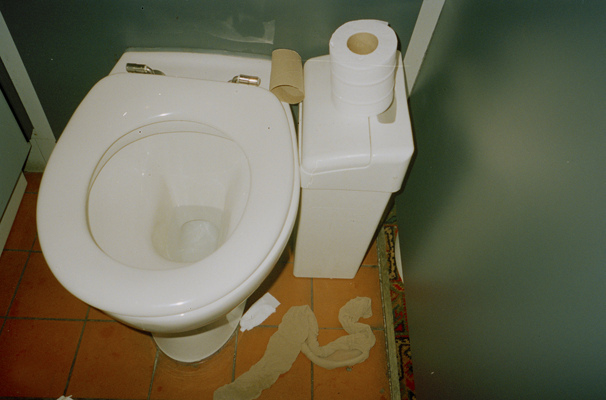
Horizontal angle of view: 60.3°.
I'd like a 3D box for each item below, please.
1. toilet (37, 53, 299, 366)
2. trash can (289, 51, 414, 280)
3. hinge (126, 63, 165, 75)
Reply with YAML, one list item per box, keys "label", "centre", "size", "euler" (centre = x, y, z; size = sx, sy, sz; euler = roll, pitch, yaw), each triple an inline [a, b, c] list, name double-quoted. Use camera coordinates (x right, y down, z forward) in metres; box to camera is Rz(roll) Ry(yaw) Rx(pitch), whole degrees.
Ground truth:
- label: "toilet"
  centre: [-0.293, 0.009, 1.454]
  size: [0.554, 0.700, 0.776]
  euler: [3, 68, 1]
- label: "trash can"
  centre: [0.114, -0.069, 1.413]
  size: [0.261, 0.574, 0.318]
  euler: [3, 52, 0]
- label: "hinge"
  centre: [-0.390, -0.320, 1.278]
  size: [0.088, 0.022, 0.028]
  euler: [8, 20, -15]
